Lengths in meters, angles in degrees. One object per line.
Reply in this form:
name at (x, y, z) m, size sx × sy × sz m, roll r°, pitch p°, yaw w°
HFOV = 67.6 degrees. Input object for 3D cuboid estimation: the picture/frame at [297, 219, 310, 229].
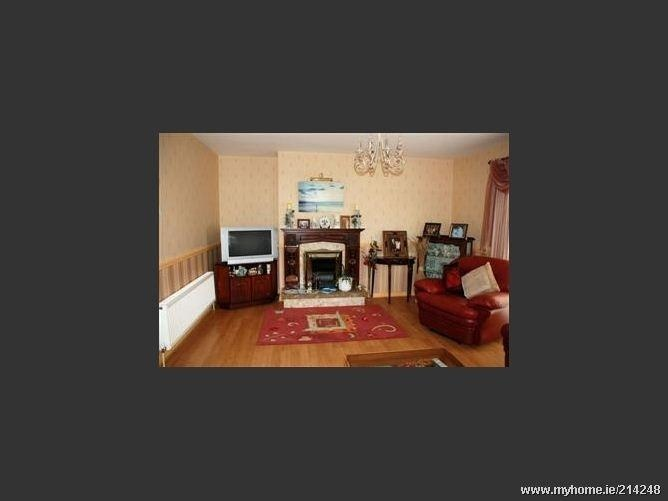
picture/frame at (-0.446, -0.355, 7.011) m, size 0.121 × 0.128 × 0.011 m, roll -8°, pitch -13°, yaw -30°

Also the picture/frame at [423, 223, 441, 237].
picture/frame at (1.406, -0.292, 7.265) m, size 0.202 × 0.188 × 0.425 m, roll -1°, pitch 8°, yaw -9°

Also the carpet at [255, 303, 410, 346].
carpet at (-0.090, 0.835, 5.759) m, size 1.593 × 0.024 × 1.459 m, roll -1°, pitch 8°, yaw -10°

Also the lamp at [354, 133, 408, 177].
lamp at (0.527, -1.047, 5.497) m, size 0.471 × 0.478 × 1.623 m, roll 1°, pitch 8°, yaw 9°

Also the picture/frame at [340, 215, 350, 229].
picture/frame at (0.134, -0.389, 7.145) m, size 0.178 × 0.255 × 0.018 m, roll 1°, pitch 8°, yaw -7°

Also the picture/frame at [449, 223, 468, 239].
picture/frame at (1.675, -0.244, 6.763) m, size 0.019 × 0.164 × 0.184 m, roll 11°, pitch 12°, yaw -34°

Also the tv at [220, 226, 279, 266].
tv at (-1.153, -0.061, 6.580) m, size 0.840 × 0.553 × 0.436 m, roll -2°, pitch 2°, yaw -31°

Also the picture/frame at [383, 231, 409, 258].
picture/frame at (0.856, -0.067, 7.177) m, size 0.356 × 0.413 × 0.056 m, roll 0°, pitch -5°, yaw -3°

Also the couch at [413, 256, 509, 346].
couch at (1.361, 0.520, 5.137) m, size 0.739 × 0.771 × 1.132 m, roll -2°, pitch 8°, yaw -13°

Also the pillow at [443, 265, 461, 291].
pillow at (1.289, 0.315, 5.497) m, size 0.076 × 0.237 × 0.205 m, roll 16°, pitch -19°, yaw -37°
